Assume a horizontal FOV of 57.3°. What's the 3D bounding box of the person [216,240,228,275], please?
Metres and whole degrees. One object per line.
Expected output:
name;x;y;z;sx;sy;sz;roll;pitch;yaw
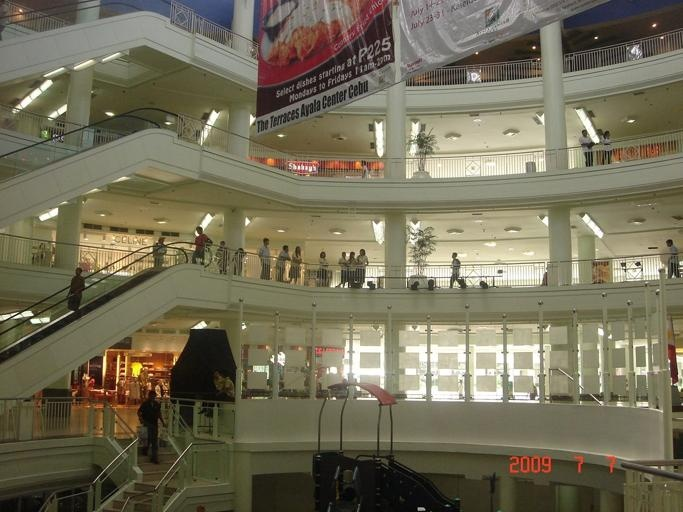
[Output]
person;-5.195;0.175;27.162;0.302;1.247;0.679;-6;-12;34

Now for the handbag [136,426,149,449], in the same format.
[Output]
handbag;-6.587;6.022;20.730;0.187;0.895;0.704;-4;6;-38

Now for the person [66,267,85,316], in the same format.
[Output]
person;-9.284;1.165;21.917;0.523;1.688;1.286;5;-11;-22

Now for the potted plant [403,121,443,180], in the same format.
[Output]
potted plant;4.036;-5.222;32.100;1.490;2.659;1.357;7;-9;-40

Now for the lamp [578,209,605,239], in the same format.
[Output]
lamp;13.226;-1.795;33.114;0.394;0.196;4.164;-20;-20;23

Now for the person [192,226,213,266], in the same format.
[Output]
person;-6.014;-0.378;26.782;0.638;1.800;0.565;5;21;-11

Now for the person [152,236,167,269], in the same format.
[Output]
person;-7.280;0.004;24.919;0.509;1.076;0.690;1;-10;0

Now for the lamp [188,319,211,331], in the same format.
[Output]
lamp;-7.001;3.384;30.984;0.860;0.226;0.945;-26;-21;30

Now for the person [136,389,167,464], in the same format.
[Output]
person;-6.390;5.692;20.822;0.734;2.313;0.722;4;-11;-17

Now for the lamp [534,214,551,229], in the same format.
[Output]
lamp;10.668;-1.946;33.267;0.752;0.231;0.819;-1;-27;42

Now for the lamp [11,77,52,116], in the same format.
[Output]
lamp;-13.863;-7.224;27.894;0.414;0.232;2.750;24;-39;-39
